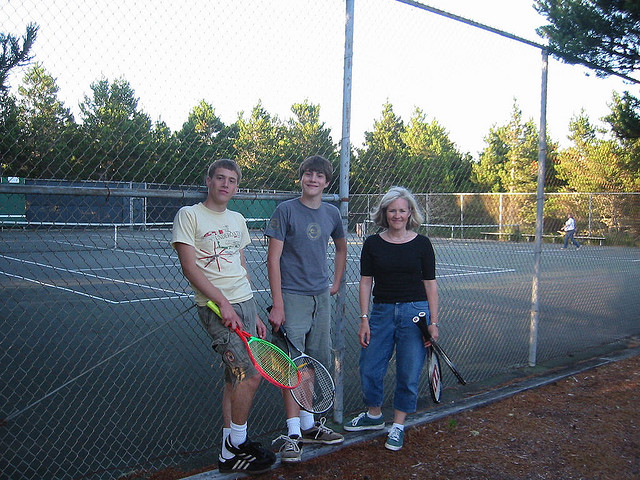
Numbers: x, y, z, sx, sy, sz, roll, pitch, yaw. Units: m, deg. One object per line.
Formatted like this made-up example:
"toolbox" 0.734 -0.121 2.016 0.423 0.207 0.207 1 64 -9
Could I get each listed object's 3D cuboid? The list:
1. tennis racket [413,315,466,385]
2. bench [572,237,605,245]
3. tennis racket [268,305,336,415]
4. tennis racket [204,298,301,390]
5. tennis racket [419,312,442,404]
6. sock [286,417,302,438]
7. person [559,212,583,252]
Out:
"tennis racket" 1.373 1.274 6.276 0.165 1.126 0.202 -41 -1 -15
"bench" 5.863 0.027 11.781 0.418 0.166 0.844 4 6 33
"tennis racket" -0.243 1.043 5.225 0.520 0.116 1.367 10 38 -38
"tennis racket" -0.590 0.917 4.873 0.427 0.108 1.236 8 23 -43
"tennis racket" 1.105 1.197 5.520 0.115 0.612 0.981 -7 -3 18
"sock" -0.243 1.698 5.093 0.119 0.157 0.183 0 5 -8
"person" 5.532 -0.169 12.163 0.592 1.153 0.462 0 -10 30
